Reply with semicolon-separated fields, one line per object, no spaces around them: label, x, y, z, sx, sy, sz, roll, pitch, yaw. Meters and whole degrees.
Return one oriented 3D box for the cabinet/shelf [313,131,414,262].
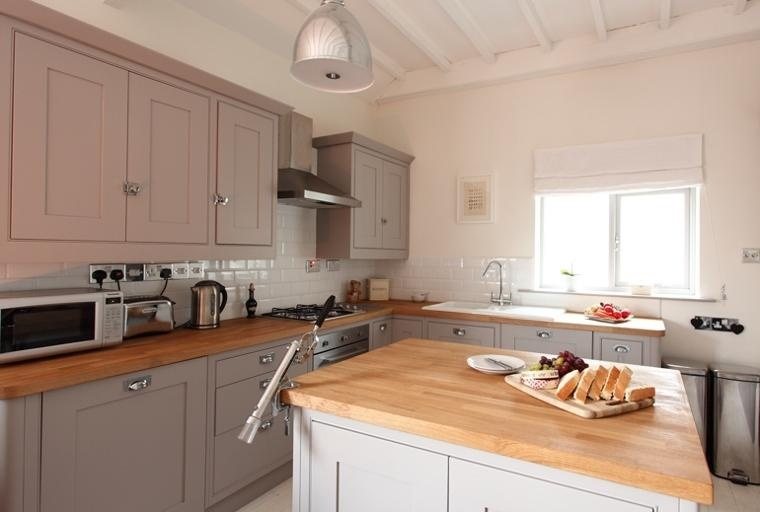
cabinet/shelf;-0.184;-0.549;5.360;0.581;1.126;1.345;1;0;26

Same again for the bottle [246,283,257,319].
bottle;-1.075;0.367;4.230;0.096;0.290;0.214;-2;14;-12

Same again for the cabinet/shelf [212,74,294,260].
cabinet/shelf;-1.000;-0.564;3.836;0.225;1.204;0.737;8;15;29

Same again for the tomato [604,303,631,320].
tomato;1.985;0.479;4.299;0.176;0.059;0.158;3;2;-6

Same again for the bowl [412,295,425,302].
bowl;0.424;0.455;5.465;0.153;0.093;0.113;-1;13;-7

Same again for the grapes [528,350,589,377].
grapes;0.935;0.568;2.687;0.229;0.105;0.163;-5;5;5

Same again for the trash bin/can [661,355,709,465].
trash bin/can;2.567;1.269;4.253;0.454;0.772;0.357;10;16;34

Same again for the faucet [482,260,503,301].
faucet;1.185;0.265;5.188;0.161;0.429;0.300;-4;14;-19

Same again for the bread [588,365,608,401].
bread;1.073;0.635;2.491;0.042;0.135;0.152;8;40;43

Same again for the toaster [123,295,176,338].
toaster;-1.528;0.446;3.485;0.418;0.239;0.228;-5;-14;4

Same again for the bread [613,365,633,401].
bread;1.191;0.641;2.493;0.041;0.123;0.148;7;9;30

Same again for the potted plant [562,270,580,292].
potted plant;1.862;0.240;4.933;0.137;0.191;0.183;13;18;42
